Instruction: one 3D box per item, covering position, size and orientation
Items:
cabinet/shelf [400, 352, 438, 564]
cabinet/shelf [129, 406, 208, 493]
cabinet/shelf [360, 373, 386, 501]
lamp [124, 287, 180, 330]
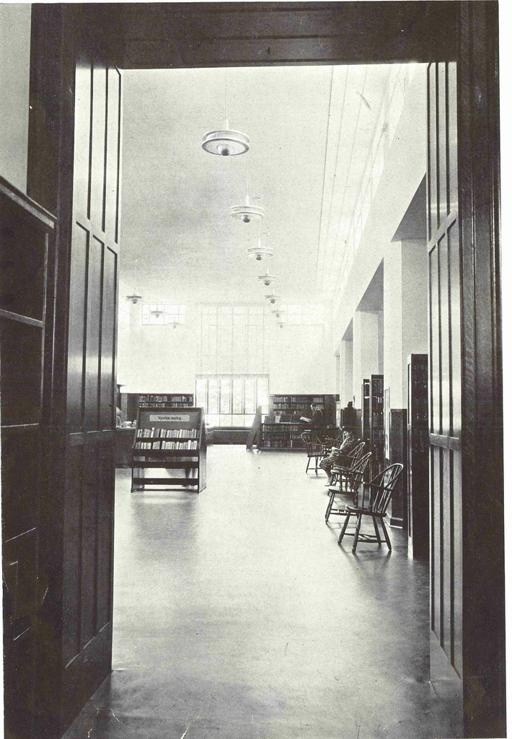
[{"bbox_3d":[1.386,0.694,5.927,0.167,1.676,0.826,0,-2,13],"label":"cabinet/shelf"},{"bbox_3d":[-1.258,1.191,10.400,0.906,2.220,1.043,0,-8,-2],"label":"cabinet/shelf"},{"bbox_3d":[1.455,0.826,8.538,0.274,1.479,1.147,0,-6,3],"label":"cabinet/shelf"},{"bbox_3d":[-3.459,-1.890,24.036,1.885,0.926,0.804,1,-2,-8],"label":"lamp"}]
